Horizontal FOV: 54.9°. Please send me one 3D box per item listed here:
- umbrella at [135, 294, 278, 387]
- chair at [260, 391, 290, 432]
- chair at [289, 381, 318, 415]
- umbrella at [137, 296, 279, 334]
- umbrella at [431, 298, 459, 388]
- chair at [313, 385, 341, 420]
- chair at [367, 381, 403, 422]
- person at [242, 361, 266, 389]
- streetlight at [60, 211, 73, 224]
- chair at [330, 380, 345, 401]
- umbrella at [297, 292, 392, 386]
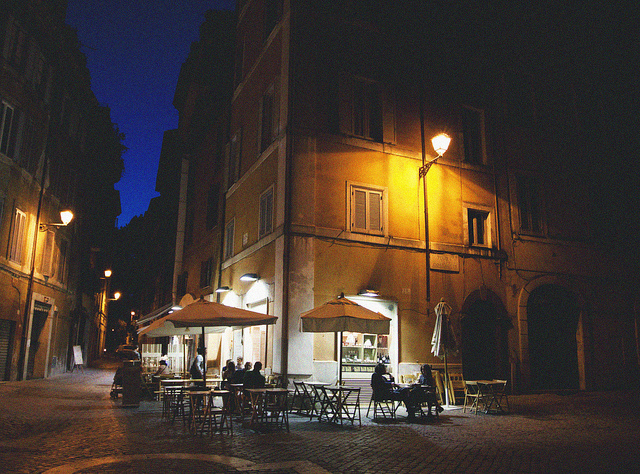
[{"bbox_3d":[-3.666,2.974,19.596,2.341,1.998,2.427,-4,-2,35],"label":"umbrella"},{"bbox_3d":[-1.369,5.248,18.538,0.731,1.379,1.006,2,-46,-2],"label":"chair"},{"bbox_3d":[-0.597,5.650,21.191,0.845,1.161,1.380,11,-18,-10],"label":"chair"},{"bbox_3d":[-3.379,2.519,19.091,2.156,0.855,2.248,2,-14,-28],"label":"umbrella"},{"bbox_3d":[4.504,3.894,22.536,0.896,3.252,1.372,1,-1,-2],"label":"umbrella"},{"bbox_3d":[0.190,5.208,20.283,0.858,1.210,2.866,1,-1,-2],"label":"chair"},{"bbox_3d":[2.014,5.178,19.896,0.915,1.598,0.925,2,-11,-8],"label":"chair"},{"bbox_3d":[-2.054,4.324,19.249,0.664,0.519,0.766,1,-1,-5],"label":"person"},{"bbox_3d":[-11.248,-0.893,27.325,0.585,0.676,0.556,3,-6,-23],"label":"streetlight"},{"bbox_3d":[0.579,5.083,20.330,0.824,0.586,0.843,0,-16,4],"label":"chair"},{"bbox_3d":[0.742,3.685,20.814,3.049,3.445,3.407,0,-1,-1],"label":"umbrella"}]
